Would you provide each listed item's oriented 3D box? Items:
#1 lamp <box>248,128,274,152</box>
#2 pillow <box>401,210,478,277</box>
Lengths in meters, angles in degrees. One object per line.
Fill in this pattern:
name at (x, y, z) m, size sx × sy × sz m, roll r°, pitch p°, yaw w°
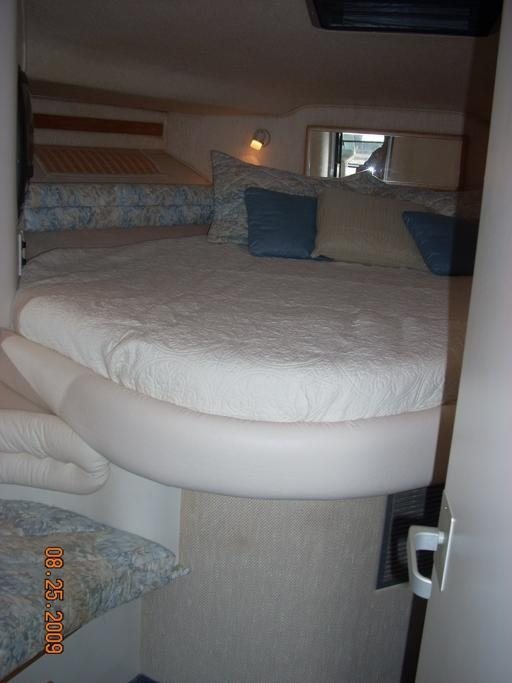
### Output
lamp at (0.031, -1.213, 3.136) m, size 0.117 × 0.102 × 0.055 m, roll 5°, pitch 2°, yaw 4°
pillow at (0.708, -0.373, 1.949) m, size 0.290 × 0.282 × 0.073 m, roll 2°, pitch -5°, yaw -8°
